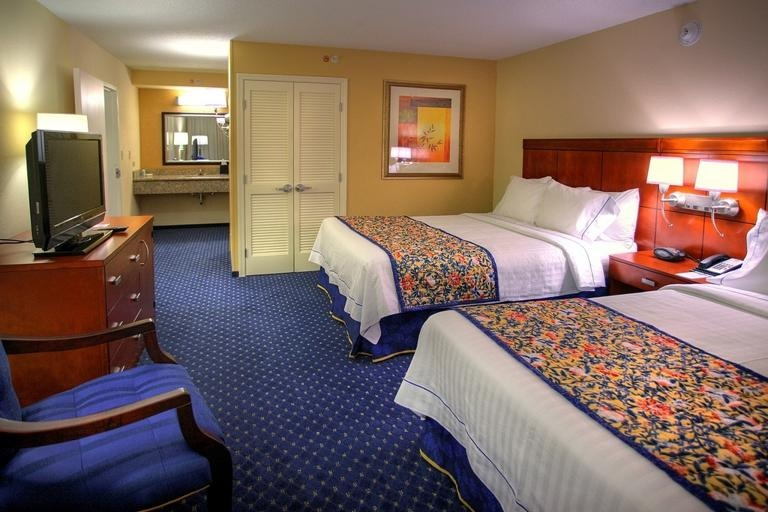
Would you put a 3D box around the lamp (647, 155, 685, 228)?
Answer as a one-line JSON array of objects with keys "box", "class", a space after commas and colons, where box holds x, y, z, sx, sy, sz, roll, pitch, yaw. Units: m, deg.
[{"box": [2.473, -0.579, 4.348, 0.268, 0.674, 0.235, 9, 26, 32], "class": "lamp"}]

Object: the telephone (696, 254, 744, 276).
[{"box": [2.562, 0.074, 3.764, 0.239, 0.088, 0.181, -12, 16, -12], "class": "telephone"}]

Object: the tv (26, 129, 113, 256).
[{"box": [-2.049, -0.395, 3.206, 0.310, 0.788, 0.902, 1, 14, -10], "class": "tv"}]

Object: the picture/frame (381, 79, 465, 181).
[{"box": [0.464, -1.659, 6.312, 1.261, 1.295, 0.048, -1, 11, -12], "class": "picture/frame"}]

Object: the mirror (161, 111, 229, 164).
[{"box": [-3.271, -2.045, 8.419, 0.917, 0.670, 0.036, -3, 10, -29], "class": "mirror"}]

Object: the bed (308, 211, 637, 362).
[{"box": [0.590, 0.087, 4.240, 1.692, 0.521, 1.711, -1, 11, -12], "class": "bed"}]
